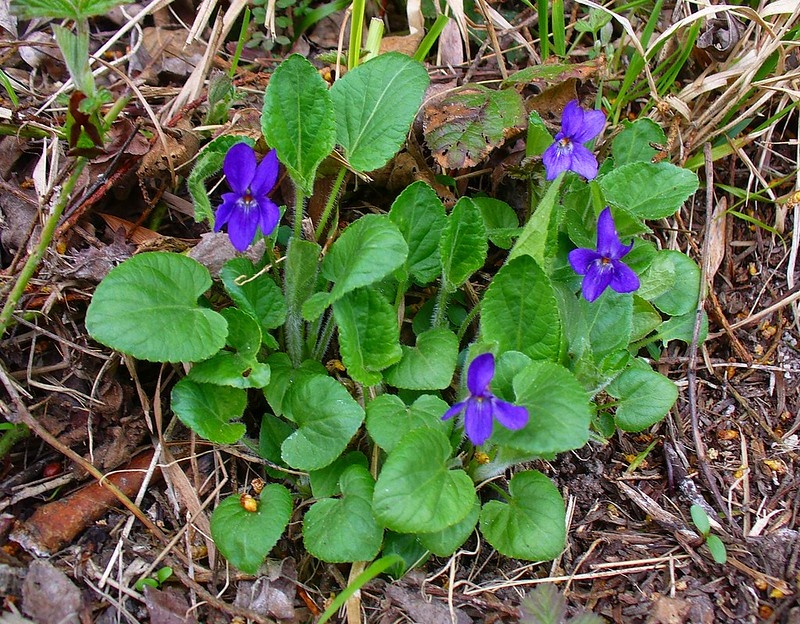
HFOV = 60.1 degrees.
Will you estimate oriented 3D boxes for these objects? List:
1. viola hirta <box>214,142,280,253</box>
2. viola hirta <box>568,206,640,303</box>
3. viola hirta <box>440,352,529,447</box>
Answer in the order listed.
[{"bbox_3d":[-0.534,-0.361,2.363,0.211,0.345,0.098,45,111,-5],"label":"viola hirta"},{"bbox_3d":[0.747,-0.173,2.564,0.269,0.115,0.347,18,83,-4],"label":"viola hirta"},{"bbox_3d":[0.287,0.284,2.268,0.260,0.081,0.323,3,86,23],"label":"viola hirta"}]
